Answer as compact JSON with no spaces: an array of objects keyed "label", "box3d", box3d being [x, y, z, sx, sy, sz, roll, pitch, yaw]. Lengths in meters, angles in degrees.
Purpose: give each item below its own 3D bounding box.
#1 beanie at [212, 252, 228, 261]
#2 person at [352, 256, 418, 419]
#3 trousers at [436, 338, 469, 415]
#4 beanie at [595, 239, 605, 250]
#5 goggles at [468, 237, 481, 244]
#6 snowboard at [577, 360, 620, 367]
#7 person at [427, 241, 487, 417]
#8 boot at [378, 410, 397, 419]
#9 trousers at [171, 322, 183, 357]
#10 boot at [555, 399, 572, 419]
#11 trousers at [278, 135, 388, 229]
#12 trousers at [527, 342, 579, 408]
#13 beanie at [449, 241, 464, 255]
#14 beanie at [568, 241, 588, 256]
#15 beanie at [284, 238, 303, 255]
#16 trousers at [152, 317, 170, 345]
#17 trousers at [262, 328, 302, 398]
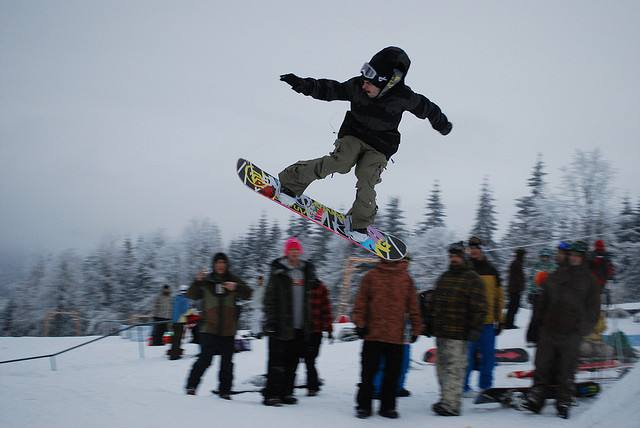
[{"label":"beanie","box3d":[-1.521,0.657,9.587,0.225,0.152,0.244,5,-12,-7]},{"label":"person","box3d":[0.906,1.733,8.939,0.918,2.321,0.615,3,-16,6]},{"label":"trousers","box3d":[1.845,2.284,8.958,0.399,1.086,0.176,9,-3,9]},{"label":"beanie","box3d":[5.065,0.567,11.440,0.143,0.259,0.626,-2,-12,22]},{"label":"goggles","box3d":[2.454,0.416,10.027,0.184,0.130,0.238,1,-12,11]},{"label":"snowboard","box3d":[4.513,2.478,10.367,0.608,0.134,0.516,11,-14,-39]},{"label":"person","box3d":[1.913,1.649,9.050,0.561,2.505,0.756,10,-16,-19]},{"label":"boot","box3d":[0.953,2.841,8.888,0.251,0.108,0.076,2,-14,5]},{"label":"trousers","box3d":[-2.737,2.414,11.953,0.172,0.645,0.684,8,-14,-11]},{"label":"boot","box3d":[3.379,2.723,8.779,0.118,0.324,0.055,6,8,12]},{"label":"trousers","box3d":[0.276,-0.591,10.666,1.640,1.376,1.020,3,-14,3]},{"label":"trousers","box3d":[3.285,2.286,8.903,0.704,0.895,0.239,-1,-17,20]},{"label":"beanie","box3d":[1.985,0.501,9.171,0.197,0.212,0.186,1,-14,9]},{"label":"beanie","box3d":[3.711,0.504,8.979,0.205,0.112,0.258,2,-16,41]},{"label":"beanie","box3d":[-0.414,0.496,9.472,0.242,0.313,0.608,5,-12,-4]},{"label":"trousers","box3d":[-3.661,2.722,14.157,0.472,0.466,0.180,-5,-18,32]},{"label":"trousers","box3d":[-0.533,2.189,9.117,0.412,1.236,0.212,6,4,-14]}]
